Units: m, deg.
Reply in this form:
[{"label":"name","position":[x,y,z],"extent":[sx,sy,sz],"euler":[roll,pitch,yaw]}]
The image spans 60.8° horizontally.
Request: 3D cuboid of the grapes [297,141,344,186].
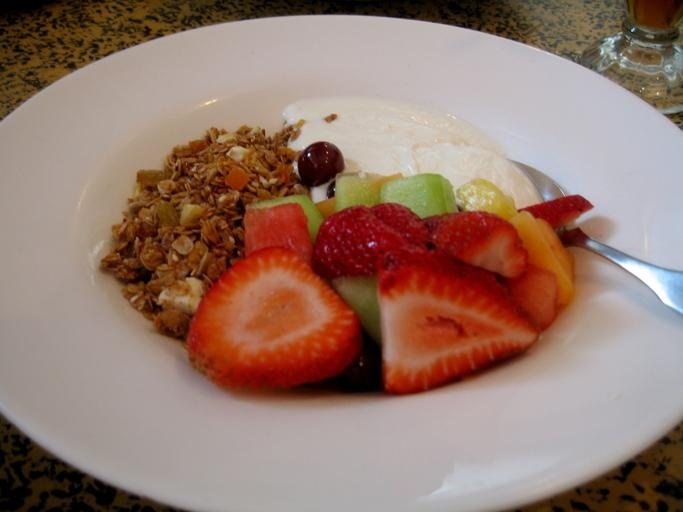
[{"label":"grapes","position":[-0.054,-0.219,1.392],"extent":[0.107,0.107,0.128],"euler":[0,104,-28]}]
